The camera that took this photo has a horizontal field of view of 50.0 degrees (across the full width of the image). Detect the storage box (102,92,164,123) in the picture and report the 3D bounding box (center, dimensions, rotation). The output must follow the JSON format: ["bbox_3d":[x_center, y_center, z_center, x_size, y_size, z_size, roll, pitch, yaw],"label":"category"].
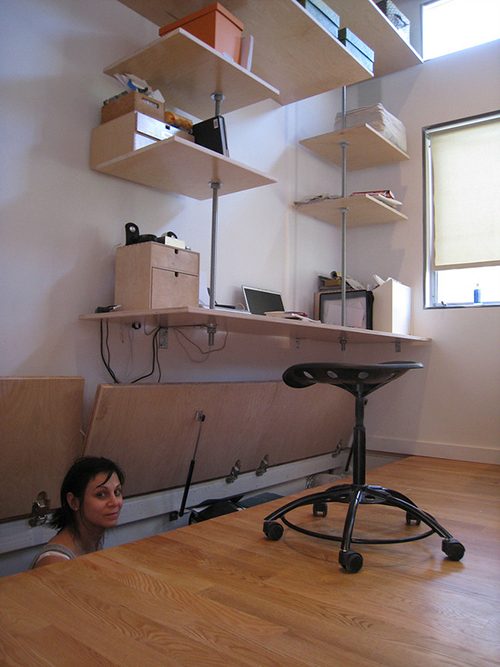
[{"bbox_3d":[-0.446,-0.841,2.090,0.189,0.081,0.139,-3,-6,42],"label":"storage box"}]

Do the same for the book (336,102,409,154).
[{"bbox_3d":[0.871,-1.377,3.568,0.447,0.142,0.323,0,2,-42],"label":"book"}]

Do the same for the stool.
[{"bbox_3d":[0.318,0.324,1.620,0.585,0.536,0.549,-1,-4,-45],"label":"stool"}]

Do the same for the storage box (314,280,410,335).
[{"bbox_3d":[0.786,-0.146,3.510,0.442,0.282,0.441,1,0,36],"label":"storage box"}]

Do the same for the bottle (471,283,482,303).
[{"bbox_3d":[1.525,-0.265,3.577,0.054,0.151,0.090,-2,-7,22],"label":"bottle"}]

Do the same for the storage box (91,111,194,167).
[{"bbox_3d":[-0.471,-0.748,2.107,0.214,0.140,0.299,-7,-1,35],"label":"storage box"}]

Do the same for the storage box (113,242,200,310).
[{"bbox_3d":[-0.323,-0.153,2.088,0.254,0.311,0.340,-4,-4,32],"label":"storage box"}]

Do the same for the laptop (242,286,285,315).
[{"bbox_3d":[0.076,-0.143,2.998,0.164,0.132,0.222,-3,-4,41],"label":"laptop"}]

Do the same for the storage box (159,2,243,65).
[{"bbox_3d":[-0.180,-1.105,2.095,0.263,0.161,0.268,-1,-2,38],"label":"storage box"}]

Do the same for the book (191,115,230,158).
[{"bbox_3d":[-0.167,-0.801,2.211,0.196,0.196,0.082,-4,-8,36],"label":"book"}]
